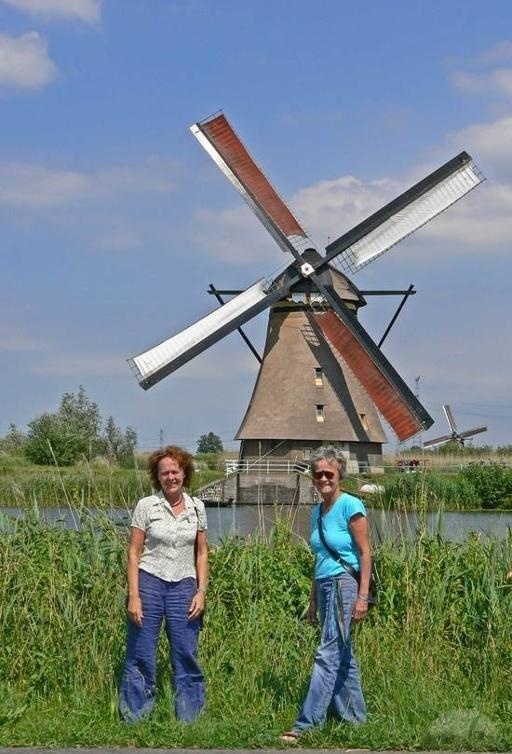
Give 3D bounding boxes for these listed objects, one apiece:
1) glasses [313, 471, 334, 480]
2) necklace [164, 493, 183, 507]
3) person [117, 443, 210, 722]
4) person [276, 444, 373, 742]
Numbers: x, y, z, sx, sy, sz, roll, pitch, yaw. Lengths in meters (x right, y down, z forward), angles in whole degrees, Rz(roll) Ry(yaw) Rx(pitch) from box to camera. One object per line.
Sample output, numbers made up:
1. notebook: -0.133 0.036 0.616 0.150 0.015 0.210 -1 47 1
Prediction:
1. glasses: 0.365 0.528 3.927 0.062 0.025 0.060 -1 -29 12
2. necklace: -0.444 0.662 3.949 0.077 0.089 0.093 -1 1 5
3. person: -0.506 1.088 3.909 0.467 1.322 0.613 -1 10 -4
4. person: 0.401 1.138 3.822 0.404 1.397 0.811 1 10 9
